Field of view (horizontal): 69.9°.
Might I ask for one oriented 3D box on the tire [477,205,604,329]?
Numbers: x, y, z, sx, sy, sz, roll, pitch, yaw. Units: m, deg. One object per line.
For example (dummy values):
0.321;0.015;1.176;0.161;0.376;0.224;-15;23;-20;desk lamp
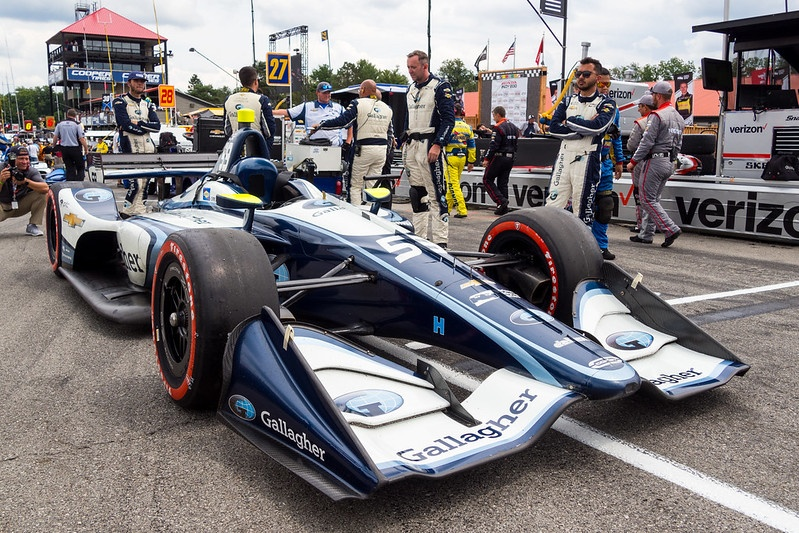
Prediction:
1.085;0.073;4.597;0.575;1.116;1.126;-7;-8;-31;tire
